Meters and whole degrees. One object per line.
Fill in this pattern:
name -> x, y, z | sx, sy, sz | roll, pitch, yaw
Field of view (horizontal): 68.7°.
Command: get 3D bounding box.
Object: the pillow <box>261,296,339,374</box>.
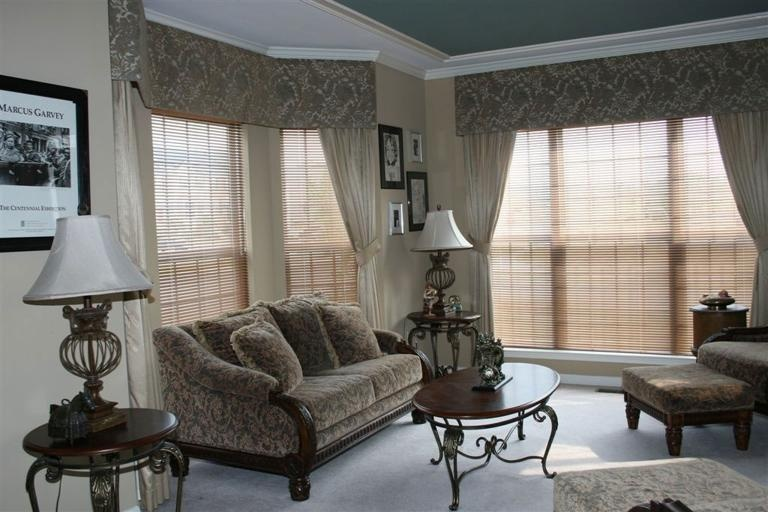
pillow -> -0.841, 0.777, 5.544 | 0.865, 0.760, 0.230 | 19, -1, -26

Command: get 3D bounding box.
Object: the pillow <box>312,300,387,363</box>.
pillow -> -0.233, 0.714, 5.751 | 0.720, 0.632, 0.227 | -13, -3, 38

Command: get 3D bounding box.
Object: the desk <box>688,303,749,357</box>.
desk -> 3.644, 0.784, 6.142 | 0.509, 0.496, 0.511 | -4, 18, 19

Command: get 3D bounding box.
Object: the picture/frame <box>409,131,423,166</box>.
picture/frame -> 0.398, -1.398, 7.176 | 0.047, 0.362, 0.333 | 1, 10, 27

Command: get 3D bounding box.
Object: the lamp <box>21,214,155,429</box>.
lamp -> -1.944, 0.406, 3.686 | 0.659, 1.346, 0.864 | -9, 10, -36

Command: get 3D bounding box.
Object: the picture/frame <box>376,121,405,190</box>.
picture/frame -> 0.089, -1.187, 6.788 | 0.113, 0.776, 0.548 | 2, 10, 29

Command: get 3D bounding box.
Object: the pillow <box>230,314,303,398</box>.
pillow -> -0.991, 0.847, 4.833 | 0.180, 0.551, 0.591 | -39, -10, 23

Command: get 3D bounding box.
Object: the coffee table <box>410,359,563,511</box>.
coffee table -> 0.801, 1.356, 4.580 | 1.020, 0.604, 1.270 | -4, 2, 28

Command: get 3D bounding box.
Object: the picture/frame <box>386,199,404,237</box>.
picture/frame -> 0.159, -0.459, 6.854 | 0.035, 0.401, 0.392 | -6, 9, -30

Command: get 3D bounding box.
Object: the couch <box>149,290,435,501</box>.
couch -> -0.709, 1.169, 5.565 | 1.706, 1.267, 2.615 | 1, 3, 27

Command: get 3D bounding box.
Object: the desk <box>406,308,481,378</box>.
desk -> 0.666, 1.048, 6.741 | 0.875, 0.809, 0.819 | -1, 4, -5

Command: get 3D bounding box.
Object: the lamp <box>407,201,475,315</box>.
lamp -> 0.718, 0.018, 6.751 | 0.648, 1.217, 0.853 | -2, 8, 7

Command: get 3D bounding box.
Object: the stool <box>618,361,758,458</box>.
stool -> 2.760, 1.376, 5.182 | 0.830, 0.605, 0.750 | -4, 8, -6
